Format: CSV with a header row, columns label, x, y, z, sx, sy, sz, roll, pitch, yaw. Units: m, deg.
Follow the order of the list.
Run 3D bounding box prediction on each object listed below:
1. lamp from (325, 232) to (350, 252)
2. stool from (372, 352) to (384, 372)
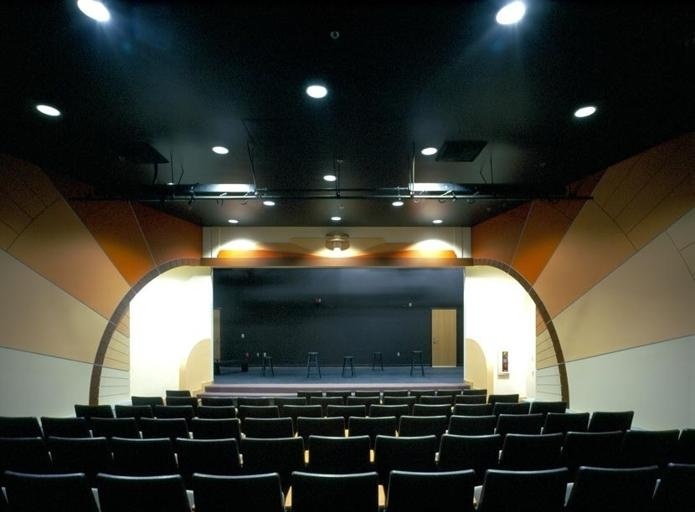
label,x,y,z,sx,sy,sz,roll,pitch,yaw
lamp,-0.259,-0.277,12.174,0.443,0.420,0.432,0,-8,0
stool,0.888,3.279,16.159,0.494,0.737,0.533,-1,-17,0
